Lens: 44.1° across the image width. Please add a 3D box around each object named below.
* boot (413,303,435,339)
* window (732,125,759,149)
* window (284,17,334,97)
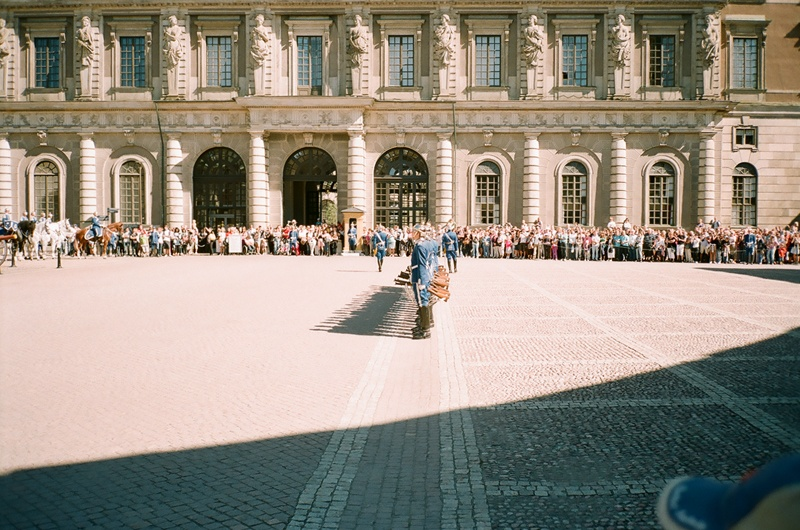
[{"bbox_3d":[0.768,1.848,32.646,0.551,1.051,0.866,0,6,10],"label":"boot"},{"bbox_3d":[21.385,-7.889,61.302,1.693,1.279,0.175,0,3,-2],"label":"window"},{"bbox_3d":[-5.403,-12.450,59.480,2.581,4.403,0.859,-2,6,-6],"label":"window"}]
